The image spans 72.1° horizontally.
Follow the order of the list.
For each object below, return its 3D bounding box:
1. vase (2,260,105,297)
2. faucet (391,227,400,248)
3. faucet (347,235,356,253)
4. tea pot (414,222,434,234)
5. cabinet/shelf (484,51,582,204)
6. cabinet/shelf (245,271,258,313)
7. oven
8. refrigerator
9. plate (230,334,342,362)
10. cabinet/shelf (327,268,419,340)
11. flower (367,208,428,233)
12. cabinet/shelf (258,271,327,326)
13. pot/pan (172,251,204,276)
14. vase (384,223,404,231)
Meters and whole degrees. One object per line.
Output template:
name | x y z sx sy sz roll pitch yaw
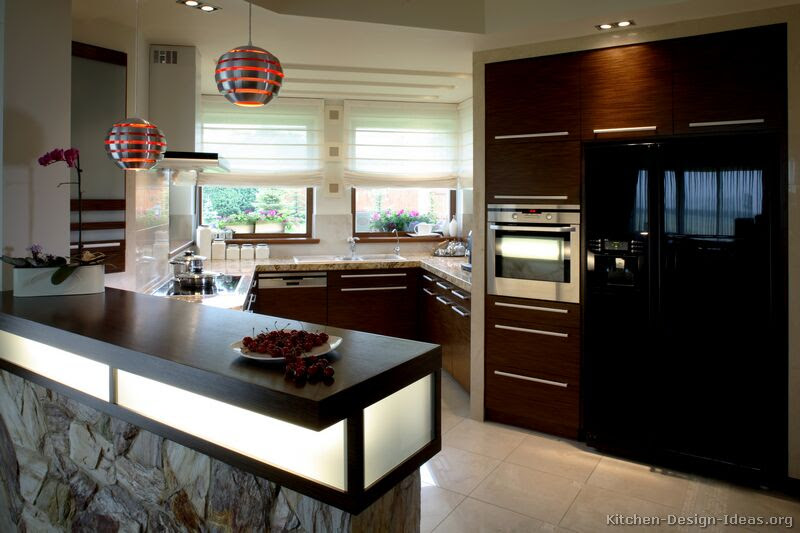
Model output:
vase | -2.143 0.080 3.454 0.487 0.188 0.089 -3 13 -28
faucet | -0.047 -0.350 6.864 0.089 0.241 0.228 3 12 -2
faucet | -0.576 -0.272 6.720 0.098 0.199 0.119 -7 16 -43
tea pot | 0.315 -0.487 6.903 0.175 0.121 0.134 -3 5 -8
cabinet/shelf | 1.097 -1.037 4.430 0.587 1.121 0.750 -5 7 -32
cabinet/shelf | -1.415 0.238 5.405 0.092 0.367 0.381 3 -8 -3
oven | 1.089 -0.121 4.457 0.722 0.756 0.528 5 6 36
refrigerator | 2.245 0.213 4.318 1.424 2.221 0.795 2 6 26
plate | -0.522 0.374 2.531 0.254 0.046 0.337 12 14 42
cabinet/shelf | -0.354 0.379 6.366 1.115 1.017 0.709 1 -2 -15
flower | -0.059 -0.593 7.040 0.484 0.224 0.305 -2 3 -13
cabinet/shelf | -1.195 0.302 6.053 0.779 0.707 0.519 2 -1 -15
pot/pan | -1.927 -0.035 5.096 0.218 0.266 0.713 -2 1 -37
vase | -0.086 -0.498 6.928 0.126 0.109 0.132 -1 -1 40
